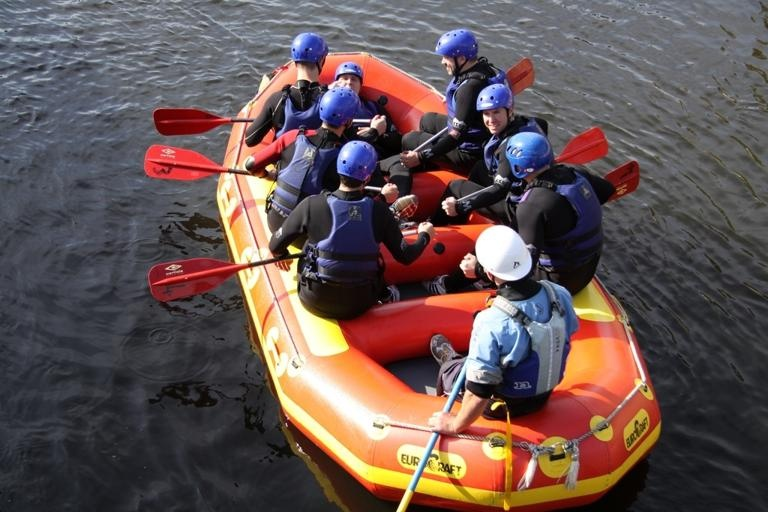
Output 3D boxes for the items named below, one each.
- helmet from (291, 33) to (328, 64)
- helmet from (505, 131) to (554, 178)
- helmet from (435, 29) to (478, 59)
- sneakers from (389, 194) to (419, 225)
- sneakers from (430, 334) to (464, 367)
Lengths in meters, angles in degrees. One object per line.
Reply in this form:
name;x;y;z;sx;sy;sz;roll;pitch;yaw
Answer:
helmet;-0.932;-2.553;9.190;0.363;0.344;0.418;12;70;8
helmet;1.591;-1.087;7.833;0.577;0.415;0.424;9;37;40
helmet;0.876;-2.581;9.109;0.491;0.307;0.331;-7;39;4
sneakers;0.207;-0.531;8.474;0.228;0.396;0.122;22;71;-8
sneakers;0.644;0.978;7.879;0.187;0.457;0.173;2;44;45
